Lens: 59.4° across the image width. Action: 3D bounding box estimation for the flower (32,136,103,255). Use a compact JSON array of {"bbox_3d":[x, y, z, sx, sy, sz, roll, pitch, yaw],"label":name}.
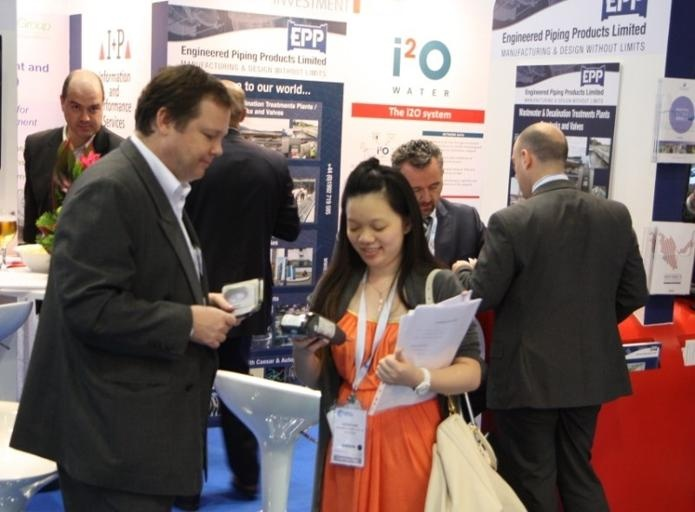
[{"bbox_3d":[-1.302,-0.285,2.822,0.174,0.647,0.595,10,3,-28],"label":"flower"}]
